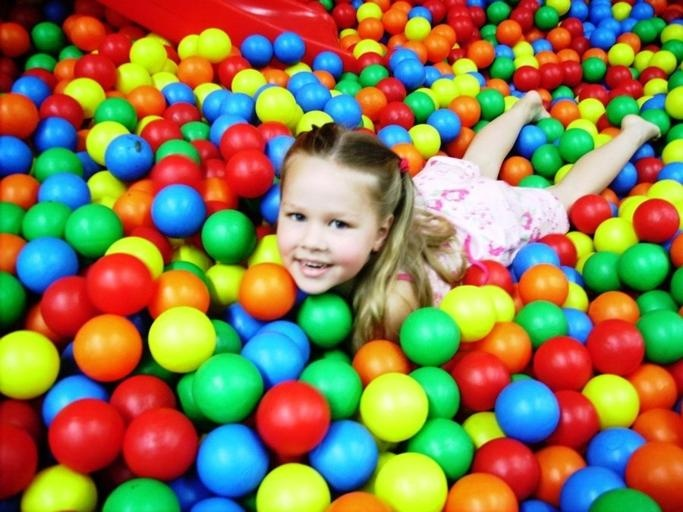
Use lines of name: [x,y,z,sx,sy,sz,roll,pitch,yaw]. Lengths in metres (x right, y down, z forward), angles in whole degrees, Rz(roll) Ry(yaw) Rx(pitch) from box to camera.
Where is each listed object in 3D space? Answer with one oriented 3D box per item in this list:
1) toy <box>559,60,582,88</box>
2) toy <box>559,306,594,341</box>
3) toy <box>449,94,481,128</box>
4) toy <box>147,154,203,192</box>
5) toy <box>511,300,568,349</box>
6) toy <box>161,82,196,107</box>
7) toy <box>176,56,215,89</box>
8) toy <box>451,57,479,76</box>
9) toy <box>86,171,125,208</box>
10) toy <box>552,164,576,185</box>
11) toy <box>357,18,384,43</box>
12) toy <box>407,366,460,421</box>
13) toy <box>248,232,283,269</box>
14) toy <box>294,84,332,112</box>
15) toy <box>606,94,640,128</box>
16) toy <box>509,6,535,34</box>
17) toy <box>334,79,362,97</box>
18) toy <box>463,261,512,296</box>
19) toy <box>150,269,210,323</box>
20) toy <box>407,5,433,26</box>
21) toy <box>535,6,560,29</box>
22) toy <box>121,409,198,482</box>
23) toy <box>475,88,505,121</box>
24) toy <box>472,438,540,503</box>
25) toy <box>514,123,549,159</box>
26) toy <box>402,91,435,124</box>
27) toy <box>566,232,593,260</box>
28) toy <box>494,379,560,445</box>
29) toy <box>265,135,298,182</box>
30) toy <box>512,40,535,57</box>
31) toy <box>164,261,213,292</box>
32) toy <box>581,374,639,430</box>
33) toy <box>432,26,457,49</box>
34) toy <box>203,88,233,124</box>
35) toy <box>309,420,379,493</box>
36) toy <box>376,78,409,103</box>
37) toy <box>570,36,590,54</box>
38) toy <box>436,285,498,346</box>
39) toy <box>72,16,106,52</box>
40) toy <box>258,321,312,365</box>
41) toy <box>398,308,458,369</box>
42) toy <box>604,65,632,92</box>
toy: [1.419,-1.134,4.342,0.138,0.179,0.146,-9,16,16]
toy: [0.868,0.252,2.574,0.101,0.108,0.133,3,91,5]
toy: [0.683,-0.779,3.800,0.149,0.188,0.165,2,57,11]
toy: [-0.648,-0.325,2.674,0.139,0.172,0.151,-14,56,12]
toy: [0.715,0.240,2.515,0.151,0.190,0.163,-10,49,6]
toy: [-0.786,-0.768,3.338,0.126,0.149,0.131,27,94,-9]
toy: [-0.745,-0.912,3.567,0.155,0.189,0.172,-6,98,13]
toy: [0.746,-1.151,4.224,0.133,0.147,0.163,4,22,-3]
toy: [-0.946,-0.259,2.746,0.102,0.103,0.122,-41,81,15]
toy: [1.108,-0.401,3.411,0.100,0.113,0.125,3,15,-9]
toy: [0.183,-1.409,4.335,0.132,0.161,0.147,4,86,-2]
toy: [0.294,0.443,2.260,0.150,0.151,0.197,-2,99,5]
toy: [-0.292,-0.024,2.618,0.105,0.110,0.137,-4,100,-15]
toy: [-0.147,-0.766,3.465,0.137,0.143,0.167,13,35,-18]
toy: [1.540,-0.802,3.782,0.159,0.166,0.204,-13,97,10]
toy: [1.214,-1.583,4.648,0.145,0.188,0.156,6,35,17]
toy: [0.035,-0.903,3.778,0.115,0.097,0.103,3,73,-5]
toy: [0.589,0.083,2.796,0.138,0.172,0.151,-2,60,-1]
toy: [-0.579,0.126,2.440,0.160,0.170,0.196,-6,50,-21]
toy: [0.504,-1.558,4.459,0.125,0.135,0.158,-4,53,-4]
toy: [1.379,-1.585,4.629,0.136,0.149,0.178,6,100,14]
toy: [-0.526,0.548,2.051,0.192,0.241,0.204,13,47,-5]
toy: [0.829,-0.823,3.811,0.145,0.154,0.190,-1,99,16]
toy: [0.494,0.621,2.107,0.169,0.170,0.221,-3,95,8]
toy: [1.003,-0.605,3.659,0.150,0.197,0.161,1,22,6]
toy: [0.424,-0.793,3.760,0.148,0.156,0.185,-4,61,-23]
toy: [1.078,-0.039,3.079,0.108,0.112,0.141,3,89,8]
toy: [0.586,0.485,2.170,0.179,0.216,0.200,6,89,-7]
toy: [-0.271,-0.435,2.935,0.157,0.167,0.204,-8,79,-9]
toy: [1.190,-1.341,4.509,0.109,0.120,0.140,1,51,0]
toy: [-0.569,0.068,2.518,0.115,0.117,0.150,-2,88,3]
toy: [0.901,0.472,2.325,0.155,0.163,0.202,2,90,3]
toy: [0.656,-1.410,4.396,0.129,0.159,0.144,-1,75,3]
toy: [-0.591,-0.722,3.357,0.129,0.145,0.162,4,39,8]
toy: [-0.015,0.630,2.173,0.178,0.191,0.222,-7,55,-13]
toy: [0.266,-0.884,3.709,0.127,0.159,0.133,-20,25,7]
toy: [1.575,-1.375,4.554,0.108,0.121,0.132,3,16,-6]
toy: [0.455,0.205,2.411,0.174,0.210,0.195,4,87,-14]
toy: [-1.326,-1.146,3.575,0.182,0.154,0.190,2,57,-15]
toy: [-0.194,0.287,2.393,0.139,0.143,0.182,-2,89,7]
toy: [0.311,0.282,2.402,0.176,0.192,0.237,1,100,2]
toy: [1.700,-1.075,4.260,0.135,0.164,0.152,0,94,-7]
